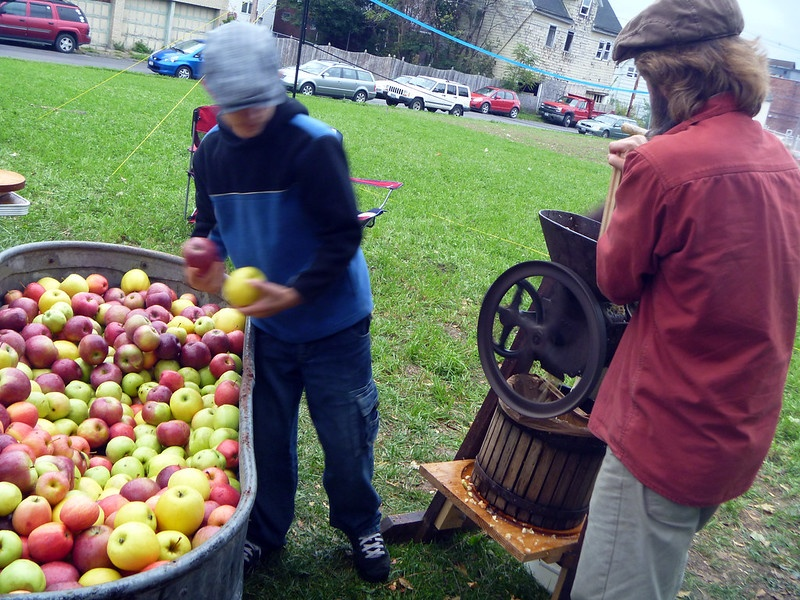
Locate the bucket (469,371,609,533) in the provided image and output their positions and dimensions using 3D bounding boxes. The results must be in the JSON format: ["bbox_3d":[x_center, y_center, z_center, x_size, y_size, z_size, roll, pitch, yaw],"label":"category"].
[{"bbox_3d":[0.778,0.761,3.088,0.701,0.686,0.744,19,10,-3],"label":"bucket"}]

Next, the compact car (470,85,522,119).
[{"bbox_3d":[4.913,-10.419,28.961,3.280,1.320,0.868,-7,26,-38],"label":"compact car"}]

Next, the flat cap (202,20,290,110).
[{"bbox_3d":[-0.580,-0.934,2.207,0.254,0.316,0.358,-6,21,0],"label":"flat cap"}]

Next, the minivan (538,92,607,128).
[{"bbox_3d":[10.022,-11.039,32.062,3.200,1.369,1.607,-16,26,-40],"label":"minivan"}]

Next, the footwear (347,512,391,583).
[{"bbox_3d":[-0.186,1.321,2.996,0.140,0.178,0.434,-12,52,-8],"label":"footwear"}]

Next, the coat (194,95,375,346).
[{"bbox_3d":[-0.558,-0.342,2.475,0.862,1.074,0.423,19,22,23],"label":"coat"}]

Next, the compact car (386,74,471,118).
[{"bbox_3d":[1.309,-9.254,24.852,4.197,1.406,1.653,-6,26,-37],"label":"compact car"}]
